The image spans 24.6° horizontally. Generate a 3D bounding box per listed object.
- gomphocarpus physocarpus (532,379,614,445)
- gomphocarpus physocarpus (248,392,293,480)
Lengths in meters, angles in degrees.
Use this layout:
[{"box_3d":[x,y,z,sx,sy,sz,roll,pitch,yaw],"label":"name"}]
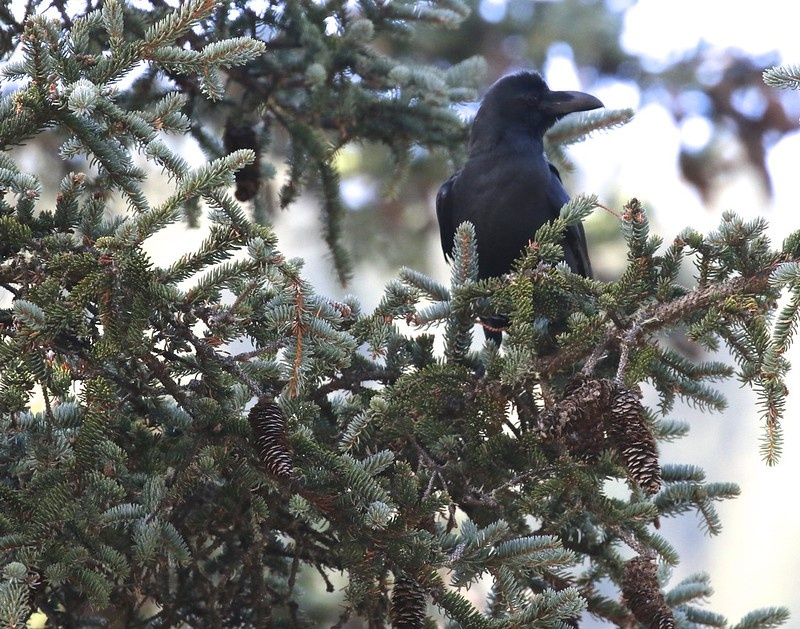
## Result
[{"box_3d":[0.810,0.482,8.713,0.220,0.224,0.358,26,-32,-19],"label":"gomphocarpus physocarpus"},{"box_3d":[-0.598,0.589,8.599,0.299,0.308,0.151,33,-48,-17],"label":"gomphocarpus physocarpus"}]
